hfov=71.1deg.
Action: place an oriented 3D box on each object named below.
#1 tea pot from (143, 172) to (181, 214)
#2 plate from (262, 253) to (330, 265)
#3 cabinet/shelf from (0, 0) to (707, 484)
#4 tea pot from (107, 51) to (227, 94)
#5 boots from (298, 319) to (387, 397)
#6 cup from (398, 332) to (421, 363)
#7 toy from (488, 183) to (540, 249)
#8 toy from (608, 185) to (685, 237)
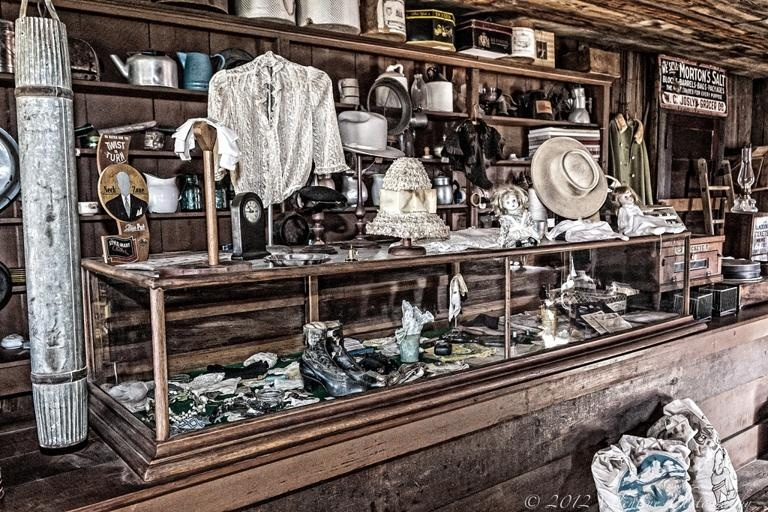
[{"bbox_3d":[-1.325,-0.370,3.197,0.197,0.236,0.263,-5,-7,37],"label":"tea pot"},{"bbox_3d":[-0.370,0.014,2.276,0.253,0.052,0.074,-4,4,-12],"label":"plate"},{"bbox_3d":[-0.332,-0.228,2.824,2.679,1.954,1.331,-6,5,-31],"label":"cabinet/shelf"},{"bbox_3d":[-1.296,-1.101,3.256,0.512,0.174,0.278,-2,3,-37],"label":"tea pot"},{"bbox_3d":[-0.206,0.456,2.414,0.303,0.301,0.215,-1,5,34],"label":"boots"},{"bbox_3d":[0.127,0.456,2.653,0.138,0.126,0.131,0,-6,0],"label":"cup"},{"bbox_3d":[0.708,-0.203,2.896,0.240,0.343,0.122,-8,-22,12],"label":"toy"},{"bbox_3d":[1.592,-0.241,3.303,0.399,0.249,0.431,6,11,44],"label":"toy"}]
